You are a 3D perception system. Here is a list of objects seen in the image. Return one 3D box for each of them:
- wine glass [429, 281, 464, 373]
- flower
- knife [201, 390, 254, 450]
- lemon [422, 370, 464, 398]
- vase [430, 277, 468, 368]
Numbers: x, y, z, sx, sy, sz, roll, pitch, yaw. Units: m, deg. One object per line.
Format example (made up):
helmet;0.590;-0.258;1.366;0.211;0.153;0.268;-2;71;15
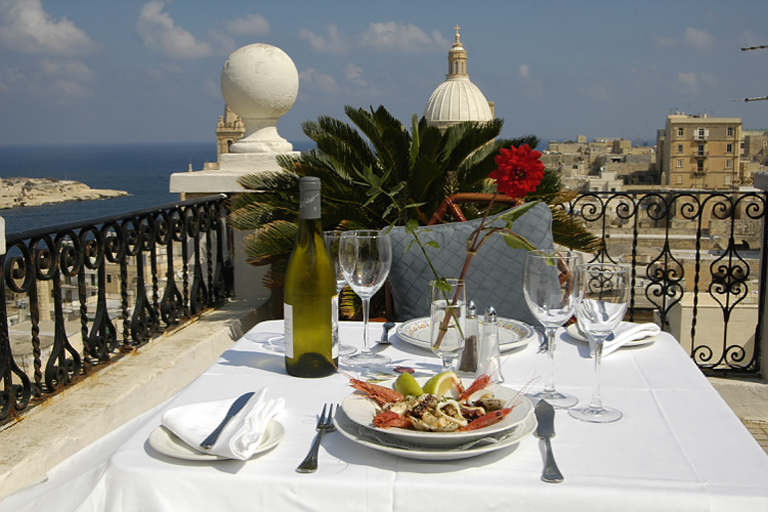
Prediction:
wine glass;0.194;0.200;2.372;0.110;0.303;0.116;-9;27;-17
flower;0.286;0.005;2.375;0.229;0.723;0.314;-7;26;-26
knife;-0.412;0.424;1.998;0.049;0.012;0.226;10;22;10
lemon;0.165;0.344;2.083;0.103;0.069;0.045;-7;27;-32
vase;0.226;0.205;2.358;0.108;0.305;0.119;-7;4;-3
